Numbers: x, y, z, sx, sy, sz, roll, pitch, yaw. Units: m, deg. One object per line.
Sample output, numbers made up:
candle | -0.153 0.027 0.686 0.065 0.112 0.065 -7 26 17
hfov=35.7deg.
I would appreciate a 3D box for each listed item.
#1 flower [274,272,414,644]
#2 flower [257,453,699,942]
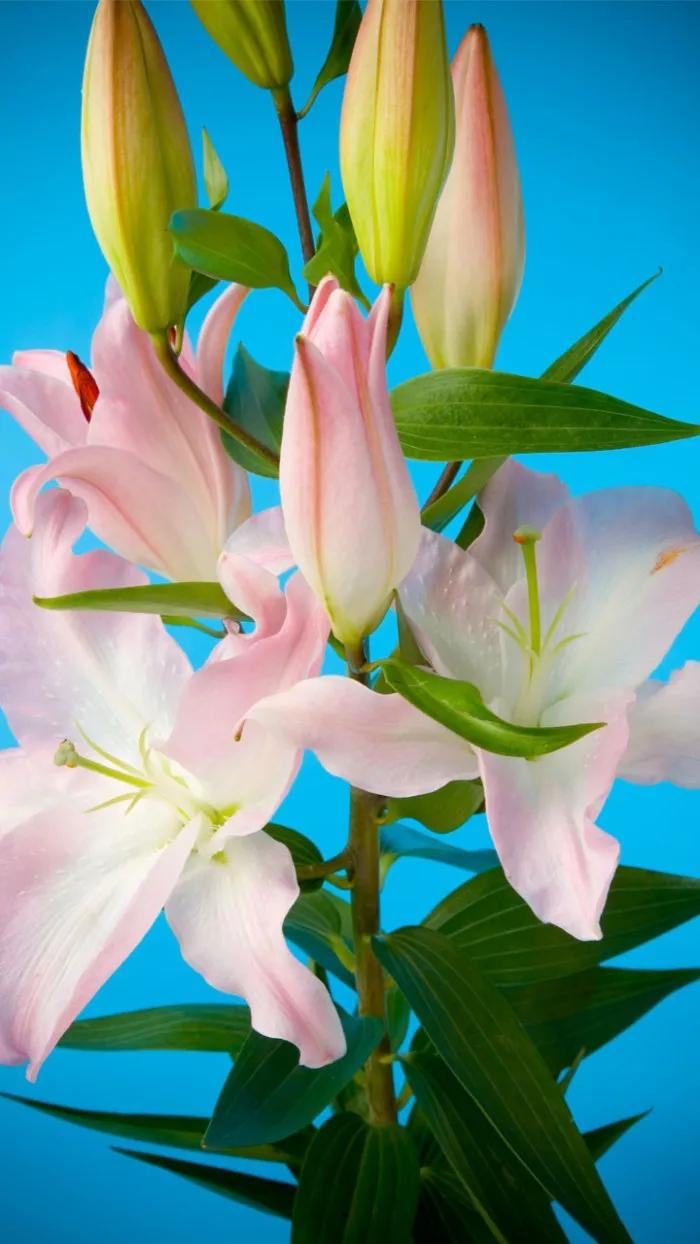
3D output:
flower | -0.001 -0.045 0.319 0.039 0.084 0.071 -10 -8 -7
flower | 0.051 0.028 0.366 0.145 0.170 0.082 8 -23 17
